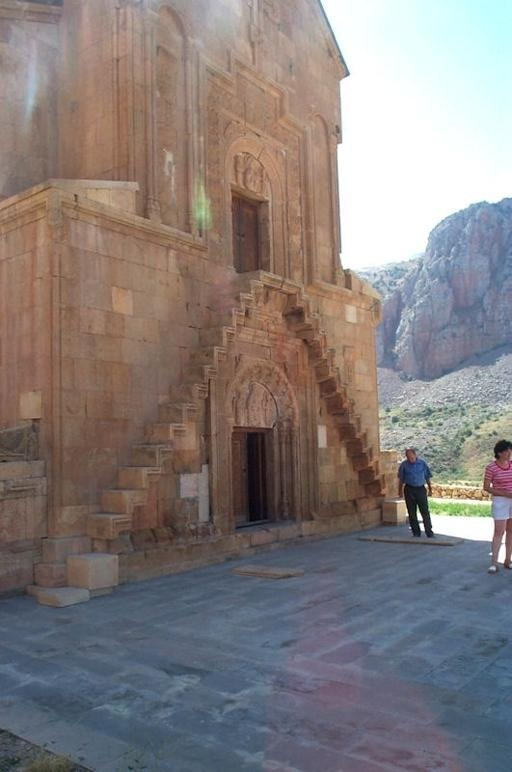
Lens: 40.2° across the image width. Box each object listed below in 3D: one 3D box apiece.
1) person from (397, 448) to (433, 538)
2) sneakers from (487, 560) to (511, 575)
[{"bbox_3d":[2.789,1.809,12.170,0.549,1.467,2.171,-5,-6,13],"label":"person"},{"bbox_3d":[2.850,2.097,8.137,0.146,0.193,0.466,-12,-20,37],"label":"sneakers"}]
